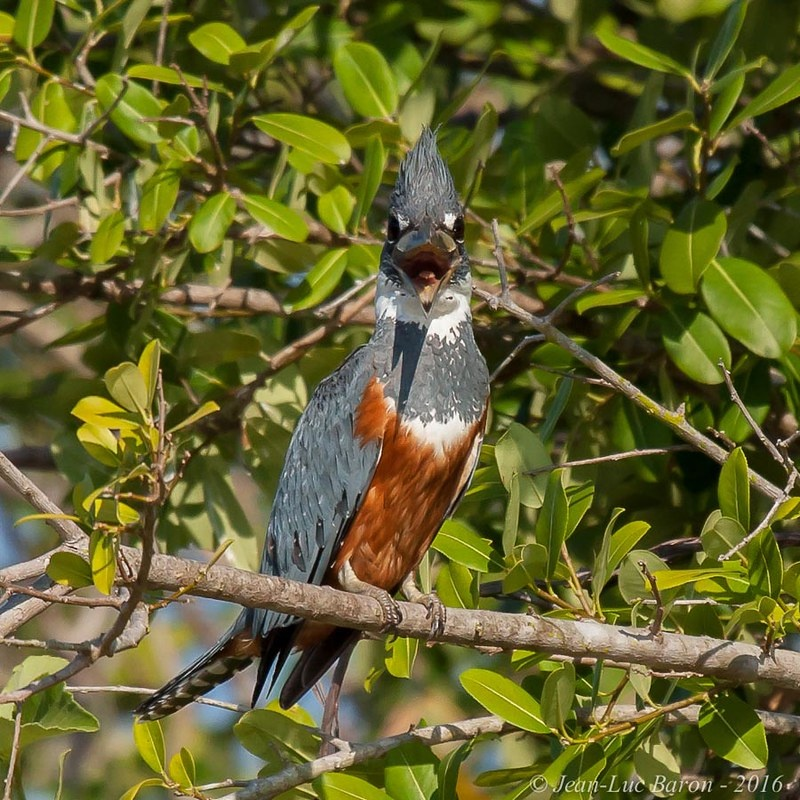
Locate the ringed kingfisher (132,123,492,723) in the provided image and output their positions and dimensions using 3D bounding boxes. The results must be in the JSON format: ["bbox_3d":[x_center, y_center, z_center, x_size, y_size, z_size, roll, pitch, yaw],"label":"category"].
[{"bbox_3d":[-0.118,0.124,4.650,0.822,2.046,0.764,15,8,13],"label":"ringed kingfisher"}]
